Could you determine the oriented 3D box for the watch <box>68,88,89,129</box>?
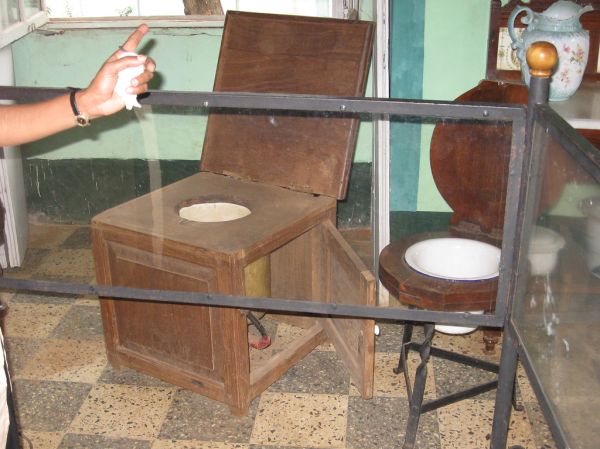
[{"bbox_3d":[-0.536,-0.281,1.272,0.046,0.080,0.065,-10,8,2],"label":"watch"}]

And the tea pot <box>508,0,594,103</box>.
[{"bbox_3d":[1.032,-0.723,2.198,0.342,0.402,0.190,1,23,2],"label":"tea pot"}]
